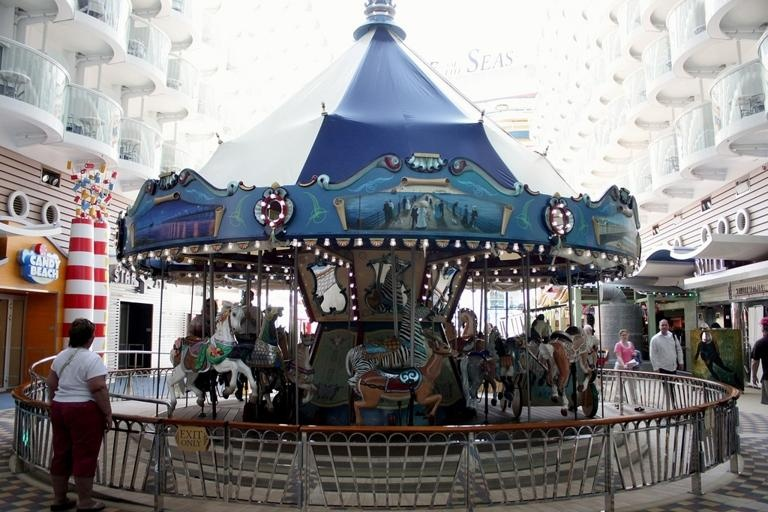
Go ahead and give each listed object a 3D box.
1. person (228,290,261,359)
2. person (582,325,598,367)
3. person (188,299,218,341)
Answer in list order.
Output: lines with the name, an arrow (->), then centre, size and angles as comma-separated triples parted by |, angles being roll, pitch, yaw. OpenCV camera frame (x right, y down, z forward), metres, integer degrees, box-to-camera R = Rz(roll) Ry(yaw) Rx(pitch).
person -> -2.880, 1.417, 14.089 | 0.500, 1.635, 2.241 | 2, -11, -11
person -> 4.394, 1.901, 14.156 | 0.274, 0.921, 1.136 | -4, -12, 18
person -> -3.806, 1.250, 13.944 | 0.463, 0.930, 2.432 | 3, -12, -17
